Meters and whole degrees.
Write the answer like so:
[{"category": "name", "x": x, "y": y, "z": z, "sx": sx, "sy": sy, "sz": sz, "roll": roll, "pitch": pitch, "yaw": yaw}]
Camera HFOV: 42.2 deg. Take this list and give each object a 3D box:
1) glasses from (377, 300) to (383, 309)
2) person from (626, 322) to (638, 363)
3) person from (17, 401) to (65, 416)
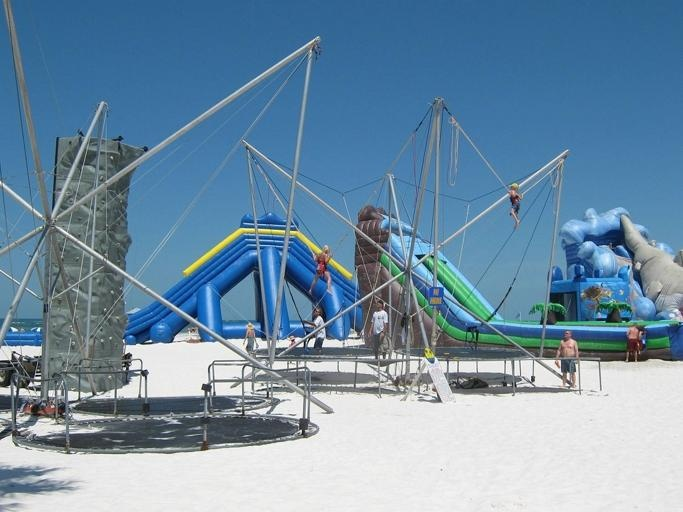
[{"category": "glasses", "x": 1.072, "y": 1.326, "z": 24.146, "sx": 0.165, "sy": 0.196, "sz": 0.242, "roll": -4, "pitch": 30, "yaw": 2}, {"category": "person", "x": 10.463, "y": 3.043, "z": 31.799, "sx": 0.399, "sy": 1.380, "sz": 0.407, "roll": 5, "pitch": 2, "yaw": 7}, {"category": "person", "x": -6.501, "y": 3.282, "z": 19.230, "sx": 0.604, "sy": 0.320, "sz": 0.844, "roll": 1, "pitch": -4, "yaw": 39}]
